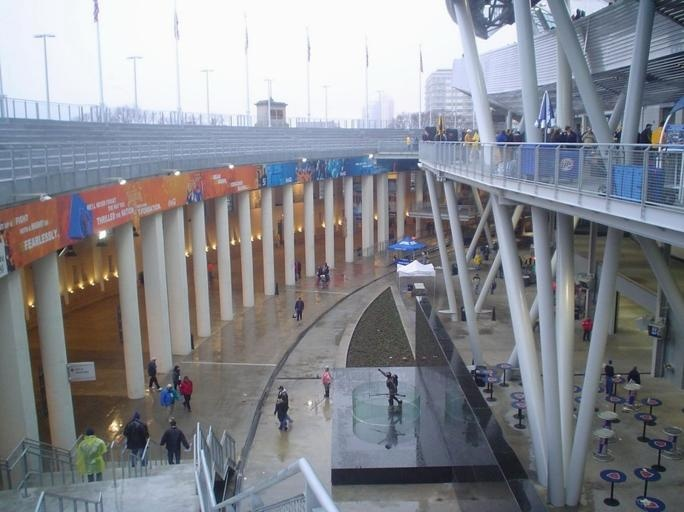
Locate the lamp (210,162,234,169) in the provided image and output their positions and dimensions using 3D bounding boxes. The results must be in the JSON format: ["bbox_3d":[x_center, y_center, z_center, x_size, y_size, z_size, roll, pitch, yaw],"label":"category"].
[{"bbox_3d":[-5.606,-4.165,26.648,0.277,0.323,1.113,-11,11,24],"label":"lamp"}]

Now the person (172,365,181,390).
[{"bbox_3d":[-5.562,4.100,19.200,0.254,0.861,0.361,-6,40,-12],"label":"person"}]

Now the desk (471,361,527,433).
[{"bbox_3d":[5.031,4.159,18.541,1.446,0.922,4.547,6,12,4],"label":"desk"}]

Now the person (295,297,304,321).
[{"bbox_3d":[-2.103,2.602,28.139,0.385,0.983,1.084,3,11,-6],"label":"person"}]

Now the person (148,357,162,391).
[{"bbox_3d":[-6.520,3.919,19.865,0.377,1.280,1.445,1,11,-18],"label":"person"}]

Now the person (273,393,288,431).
[{"bbox_3d":[-1.790,4.561,17.052,0.423,1.095,0.419,6,10,11],"label":"person"}]

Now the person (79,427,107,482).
[{"bbox_3d":[-4.878,3.981,11.146,0.492,1.280,0.909,-1,11,-26],"label":"person"}]

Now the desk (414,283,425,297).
[{"bbox_3d":[4.314,1.867,32.028,0.712,0.800,0.542,1,-9,-13],"label":"desk"}]

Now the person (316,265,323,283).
[{"bbox_3d":[-1.336,1.279,35.118,0.284,0.960,0.594,4,10,-1],"label":"person"}]

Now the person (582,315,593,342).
[{"bbox_3d":[9.696,2.935,22.825,0.326,0.934,1.196,8,11,22],"label":"person"}]

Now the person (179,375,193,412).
[{"bbox_3d":[-4.993,4.364,18.273,0.334,1.000,0.723,1,11,-17],"label":"person"}]

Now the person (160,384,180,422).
[{"bbox_3d":[-5.269,4.410,17.503,0.442,1.258,1.410,1,11,-18],"label":"person"}]
